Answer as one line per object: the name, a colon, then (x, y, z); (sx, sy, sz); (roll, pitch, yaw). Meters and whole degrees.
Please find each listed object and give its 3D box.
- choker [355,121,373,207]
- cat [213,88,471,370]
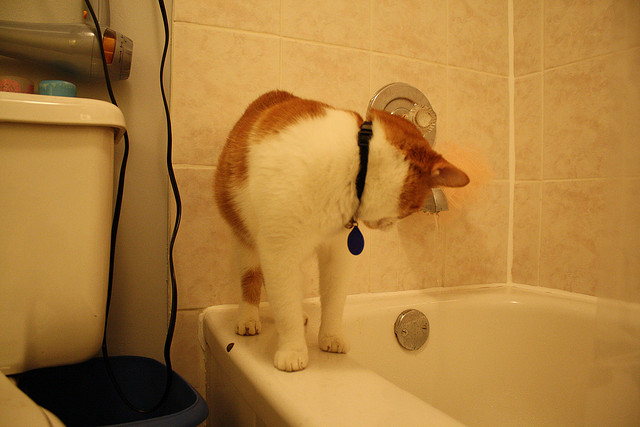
choker: (0.112, -0.142, 1.485); (0.025, 0.253, 0.034); (5, 7, 11)
cat: (0.044, 0.046, 1.629); (0.754, 0.769, 0.473); (8, 8, 17)
